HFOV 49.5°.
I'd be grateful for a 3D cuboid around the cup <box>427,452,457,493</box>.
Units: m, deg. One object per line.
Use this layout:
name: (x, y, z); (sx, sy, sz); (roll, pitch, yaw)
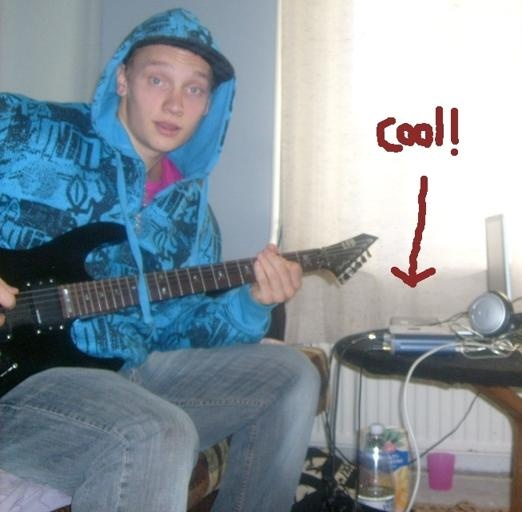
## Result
cup: (0.609, 0.726, 1.923); (0.096, 0.118, 0.107); (-5, -14, 21)
